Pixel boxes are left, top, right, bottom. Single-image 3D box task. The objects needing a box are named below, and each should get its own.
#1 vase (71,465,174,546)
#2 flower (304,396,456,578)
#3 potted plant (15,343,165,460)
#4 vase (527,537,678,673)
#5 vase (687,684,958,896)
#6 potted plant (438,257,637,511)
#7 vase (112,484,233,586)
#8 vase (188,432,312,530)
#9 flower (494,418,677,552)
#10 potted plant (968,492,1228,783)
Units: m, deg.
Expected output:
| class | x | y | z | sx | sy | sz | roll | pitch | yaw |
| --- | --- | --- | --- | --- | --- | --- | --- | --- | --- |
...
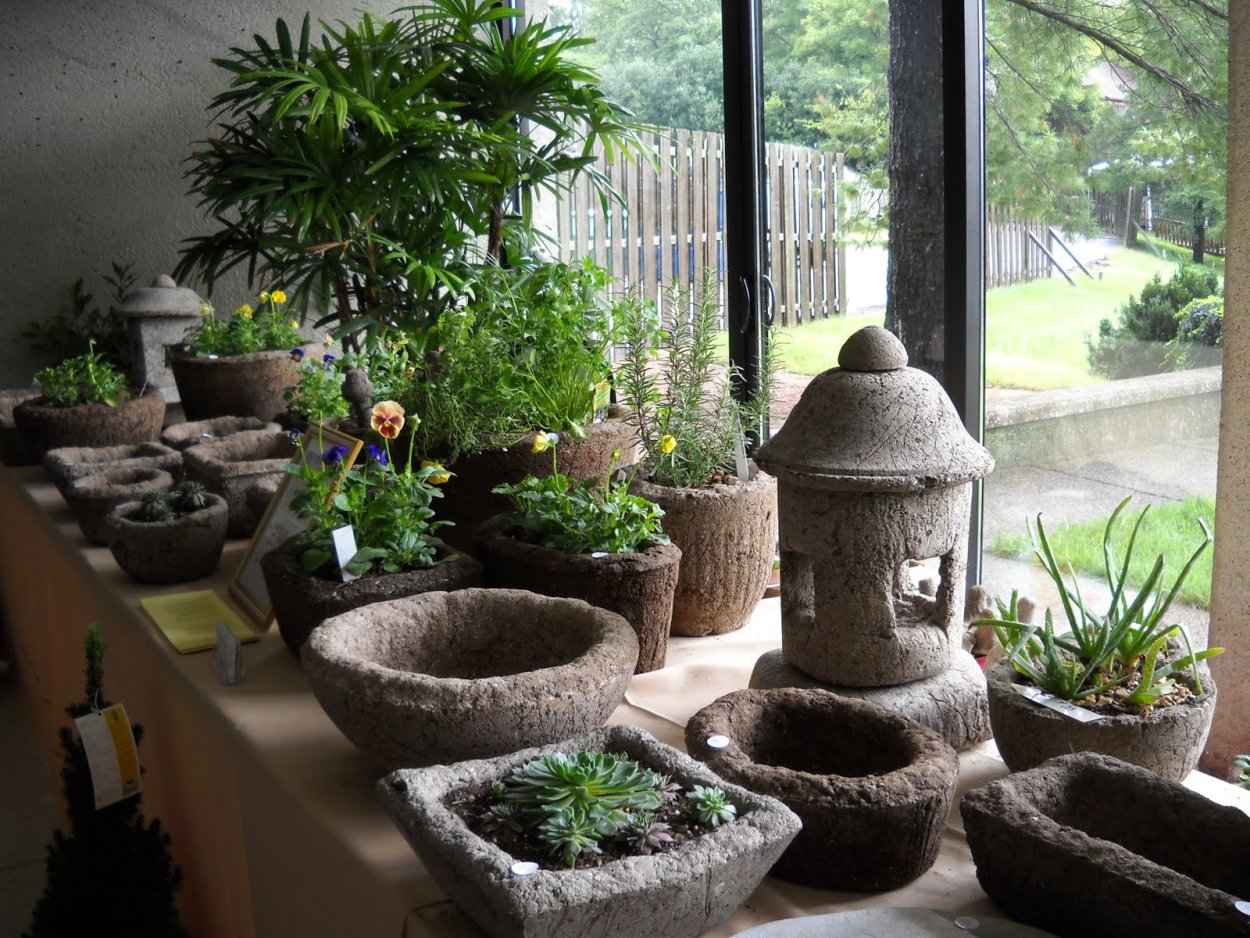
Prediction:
| class | x | y | z | sx | sy | sz | roll | pitch | yaw |
| --- | --- | --- | --- | --- | --- | --- | --- | --- | --- |
| vase | -1.258 | 0.059 | 2.651 | 0.215 | 0.143 | 0.226 | 8 | 11 | 32 |
| flower | -0.539 | 0.037 | 2.121 | 0.287 | 0.345 | 0.279 | 18 | -5 | -10 |
| potted plant | -1.560 | -0.182 | 3.083 | 0.332 | 0.274 | 0.353 | 3 | 4 | 16 |
| vase | -0.018 | 0.264 | 2.118 | 0.236 | 0.212 | 0.253 | -1 | 2 | 8 |
| vase | 0.308 | 0.463 | 1.614 | 0.280 | 0.135 | 0.322 | -13 | 16 | -37 |
| potted plant | -0.185 | -0.237 | 2.544 | 0.577 | 0.436 | 0.599 | -11 | 30 | -16 |
| vase | -1.092 | 0.167 | 2.516 | 0.255 | 0.190 | 0.279 | 7 | 12 | 5 |
| vase | -0.910 | 0.036 | 2.511 | 0.164 | 0.155 | 0.211 | 23 | 28 | 39 |
| flower | -0.118 | 0.047 | 2.262 | 0.366 | 0.169 | 0.404 | 11 | -10 | -40 |
| potted plant | 0.779 | 0.278 | 1.712 | 0.361 | 0.427 | 0.359 | -2 | 13 | 2 |
